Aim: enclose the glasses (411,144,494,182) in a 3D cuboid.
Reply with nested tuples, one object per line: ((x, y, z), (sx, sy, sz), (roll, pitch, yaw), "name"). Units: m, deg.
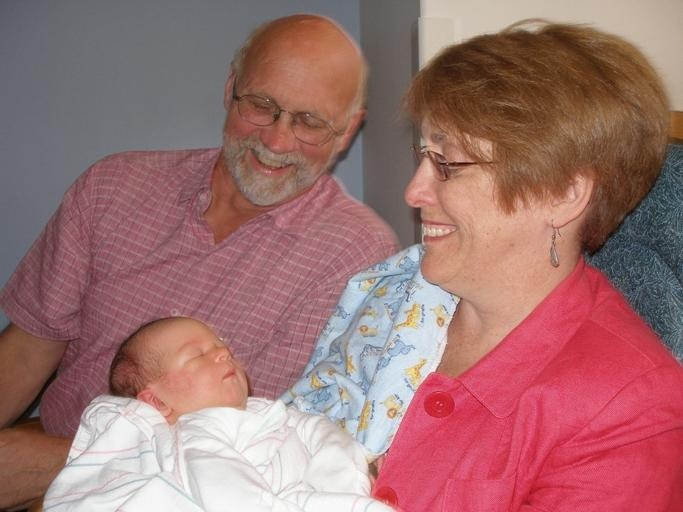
((0.284, -0.258, 1.961), (0.135, 0.045, 0.133), (-5, 24, -18), "glasses")
